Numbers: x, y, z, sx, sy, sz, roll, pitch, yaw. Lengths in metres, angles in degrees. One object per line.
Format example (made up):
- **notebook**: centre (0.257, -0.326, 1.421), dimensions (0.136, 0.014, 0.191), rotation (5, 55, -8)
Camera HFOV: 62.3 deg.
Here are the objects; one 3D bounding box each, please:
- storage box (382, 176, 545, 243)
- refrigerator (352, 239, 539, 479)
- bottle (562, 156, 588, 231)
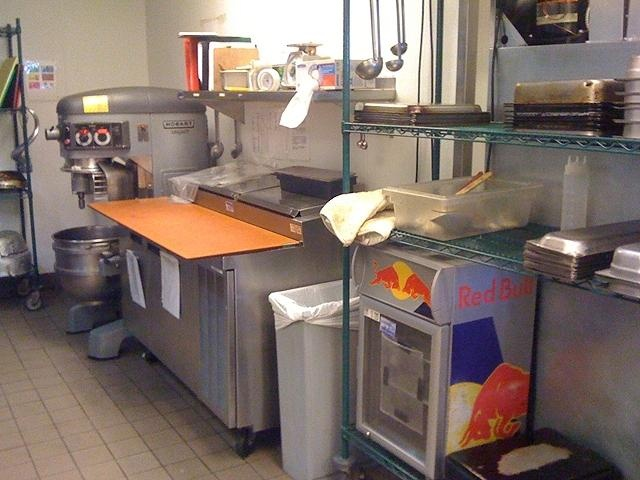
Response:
- **storage box**: centre (0.542, -0.167, 1.887), dimensions (0.400, 0.127, 0.275), rotation (-10, 16, -31)
- **refrigerator**: centre (0.416, 0.357, 2.463), dimensions (0.799, 1.173, 0.782), rotation (-3, 9, -29)
- **bottle**: centre (0.793, -0.143, 1.643), dimensions (0.071, 0.210, 0.157), rotation (4, 17, 24)
